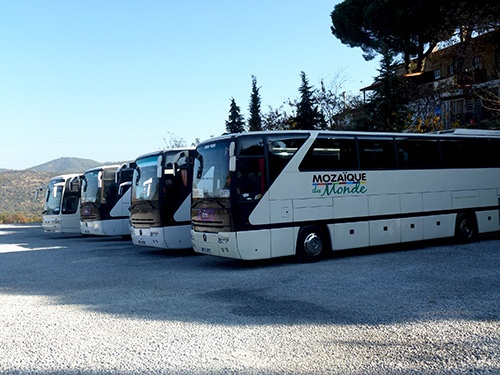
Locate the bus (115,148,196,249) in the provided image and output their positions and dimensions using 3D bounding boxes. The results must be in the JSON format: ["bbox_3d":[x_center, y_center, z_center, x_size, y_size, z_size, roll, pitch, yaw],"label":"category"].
[{"bbox_3d":[-6.205,0.514,23.064,2.204,3.465,7.151,-3,-1,31],"label":"bus"}]
